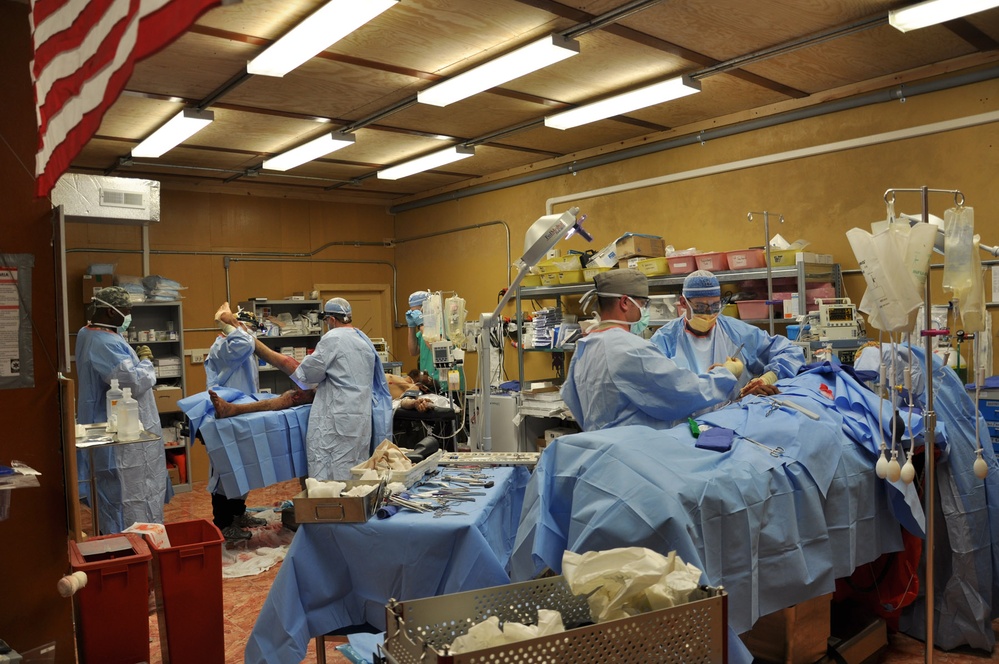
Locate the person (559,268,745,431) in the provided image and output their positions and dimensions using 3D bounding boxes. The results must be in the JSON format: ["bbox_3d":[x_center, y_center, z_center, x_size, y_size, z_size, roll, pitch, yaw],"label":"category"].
[{"bbox_3d":[0.769,0.082,4.257,0.633,0.864,0.841,-1,0,-36],"label":"person"}]

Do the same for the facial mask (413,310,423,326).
[{"bbox_3d":[-0.906,-0.147,8.310,0.168,0.151,0.102,-6,3,-4],"label":"facial mask"}]

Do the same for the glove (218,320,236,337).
[{"bbox_3d":[-2.189,-0.021,6.149,0.143,0.133,0.142,7,-11,-36],"label":"glove"}]

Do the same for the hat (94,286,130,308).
[{"bbox_3d":[-2.905,-0.254,5.693,0.229,0.161,0.239,-2,0,40],"label":"hat"}]

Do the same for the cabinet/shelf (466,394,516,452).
[{"bbox_3d":[-0.068,0.825,6.728,0.450,0.544,1.074,-1,0,1],"label":"cabinet/shelf"}]

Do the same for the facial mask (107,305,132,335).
[{"bbox_3d":[-2.832,-0.107,5.721,0.204,0.129,0.175,2,-2,-20],"label":"facial mask"}]

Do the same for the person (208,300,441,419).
[{"bbox_3d":[-1.482,0.350,6.233,1.297,0.520,1.181,1,6,-13],"label":"person"}]

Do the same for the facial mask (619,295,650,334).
[{"bbox_3d":[0.884,-0.102,4.730,0.230,0.147,0.197,9,-1,-4],"label":"facial mask"}]

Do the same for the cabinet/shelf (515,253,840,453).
[{"bbox_3d":[1.078,0.134,4.468,1.393,1.010,0.974,3,-1,-13],"label":"cabinet/shelf"}]

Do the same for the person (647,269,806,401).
[{"bbox_3d":[1.323,0.087,4.795,1.095,0.846,0.604,-9,4,-17],"label":"person"}]

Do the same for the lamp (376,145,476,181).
[{"bbox_3d":[-0.797,-1.926,8.739,0.456,0.109,1.517,-1,-1,-44],"label":"lamp"}]

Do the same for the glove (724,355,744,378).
[{"bbox_3d":[1.388,0.199,4.516,0.120,0.055,0.154,9,-17,-6],"label":"glove"}]

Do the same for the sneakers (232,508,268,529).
[{"bbox_3d":[-2.238,1.617,6.672,0.378,0.154,0.124,0,2,-17],"label":"sneakers"}]

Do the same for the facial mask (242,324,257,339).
[{"bbox_3d":[-2.101,-0.010,6.354,0.036,0.098,0.072,-45,16,-4],"label":"facial mask"}]

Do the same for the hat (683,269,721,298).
[{"bbox_3d":[1.294,-0.315,4.938,0.206,0.126,0.204,1,6,11],"label":"hat"}]

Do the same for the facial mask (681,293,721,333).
[{"bbox_3d":[1.292,-0.122,4.969,0.215,0.217,0.247,1,-1,-3],"label":"facial mask"}]

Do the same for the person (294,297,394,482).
[{"bbox_3d":[-1.306,0.584,6.155,0.871,1.650,0.686,6,-4,-31],"label":"person"}]
